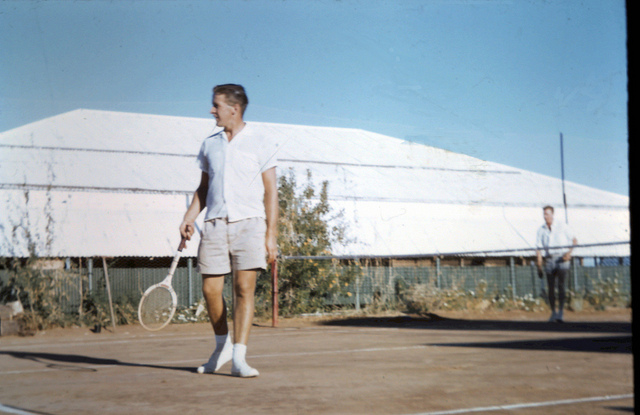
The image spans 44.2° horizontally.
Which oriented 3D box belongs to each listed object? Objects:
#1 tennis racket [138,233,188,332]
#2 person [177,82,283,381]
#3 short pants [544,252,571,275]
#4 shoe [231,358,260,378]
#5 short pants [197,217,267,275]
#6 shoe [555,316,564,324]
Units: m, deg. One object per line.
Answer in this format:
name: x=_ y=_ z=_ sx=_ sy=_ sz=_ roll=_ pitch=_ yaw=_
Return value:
tennis racket: x=-3.358 y=1.656 z=16.892 sx=0.677 sy=0.234 sz=2.352 roll=24 pitch=-55 yaw=-8
person: x=-1.097 y=0.263 z=9.791 sx=1.129 sy=3.601 sz=0.660 roll=-1 pitch=-1 yaw=0
short pants: x=4.629 y=1.147 z=15.659 sx=0.632 sy=0.604 sz=0.384 roll=0 pitch=-10 yaw=9
shoe: x=-0.918 y=1.952 z=9.631 sx=0.359 sy=0.226 sz=0.168 roll=-3 pitch=-4 yaw=23
short pants: x=-1.042 y=0.475 z=9.924 sx=0.870 sy=0.752 sz=0.509 roll=5 pitch=3 yaw=32
shoe: x=4.647 y=2.187 z=15.370 sx=0.166 sy=0.116 sz=0.312 roll=-1 pitch=-2 yaw=13
